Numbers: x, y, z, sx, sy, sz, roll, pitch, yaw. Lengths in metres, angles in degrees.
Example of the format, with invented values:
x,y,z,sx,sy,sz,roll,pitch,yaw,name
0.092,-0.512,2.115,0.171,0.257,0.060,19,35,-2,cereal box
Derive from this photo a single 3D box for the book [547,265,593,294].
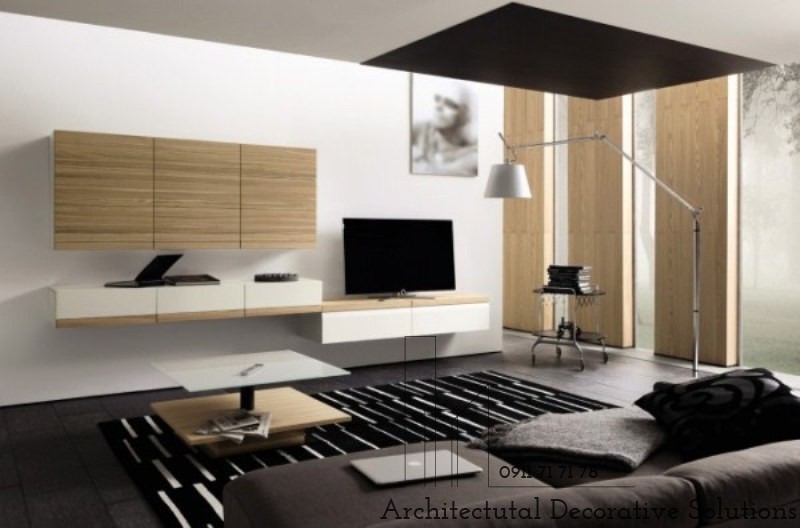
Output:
x,y,z,sx,sy,sz,roll,pitch,yaw,name
2.028,0.155,6.563,0.373,0.277,0.480,-1,3,-22,book

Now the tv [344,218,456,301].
x,y,z,sx,sy,sz,roll,pitch,yaw,name
-0.053,-0.055,5.999,1.030,0.587,0.022,-1,1,-21,tv

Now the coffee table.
x,y,z,sx,sy,sz,roll,pitch,yaw,name
-1.136,0.982,4.025,0.899,0.356,0.896,-3,7,-35,coffee table
